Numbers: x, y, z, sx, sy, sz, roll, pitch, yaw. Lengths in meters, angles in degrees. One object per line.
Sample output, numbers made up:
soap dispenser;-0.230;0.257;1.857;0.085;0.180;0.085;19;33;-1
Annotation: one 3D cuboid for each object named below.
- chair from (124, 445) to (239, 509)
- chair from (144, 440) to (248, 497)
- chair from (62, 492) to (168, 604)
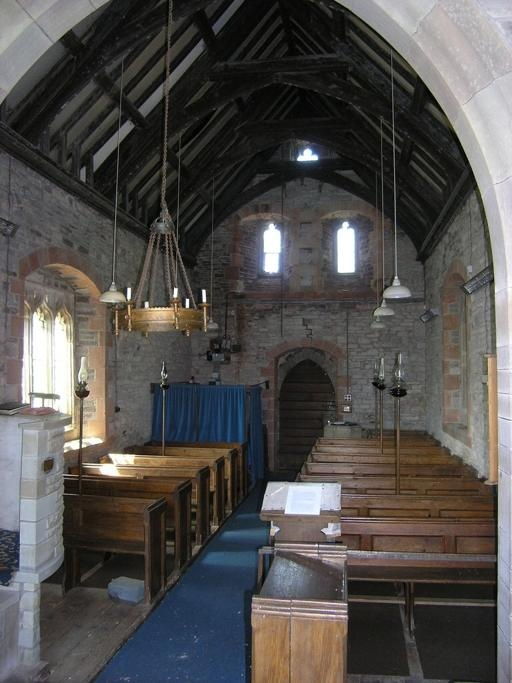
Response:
chair;-1.113;1.992;8.496;1.772;0.863;0.681;-1;2;38
chair;-0.780;1.693;7.601;1.038;0.512;0.404;-2;-13;9
chair;-1.285;1.891;5.252;0.979;0.876;0.457;-1;-16;17
